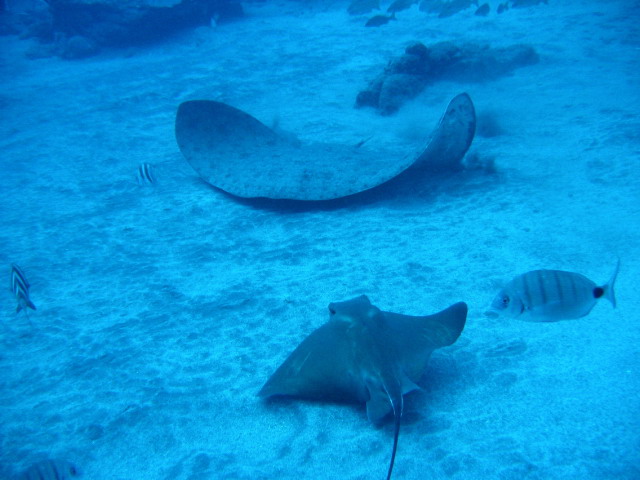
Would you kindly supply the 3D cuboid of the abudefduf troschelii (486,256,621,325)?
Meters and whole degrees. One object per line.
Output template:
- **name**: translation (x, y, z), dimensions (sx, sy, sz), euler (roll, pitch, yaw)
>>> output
- **abudefduf troschelii**: translation (2.504, 0.603, 6.871), dimensions (1.390, 0.540, 0.438), euler (-5, -1, 2)

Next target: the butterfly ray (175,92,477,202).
- **butterfly ray**: translation (-0.301, -1.414, 9.579), dimensions (4.422, 1.207, 1.583), euler (5, 29, 21)
